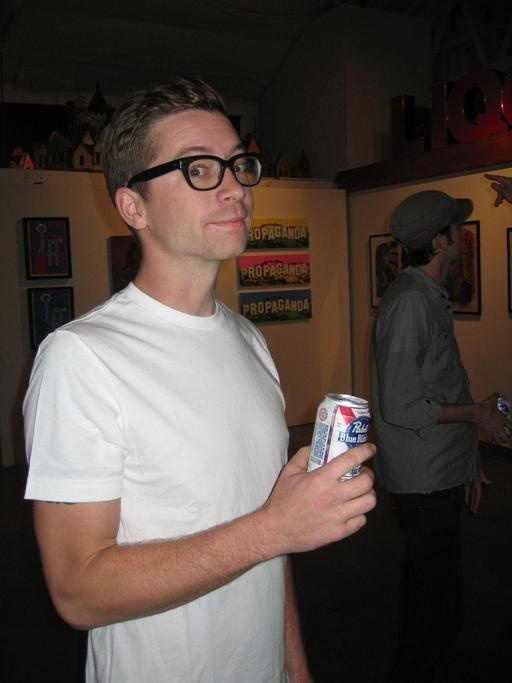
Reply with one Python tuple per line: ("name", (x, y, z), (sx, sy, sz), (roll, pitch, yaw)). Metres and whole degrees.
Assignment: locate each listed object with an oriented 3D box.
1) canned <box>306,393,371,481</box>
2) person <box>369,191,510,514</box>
("canned", (0.137, 0.151, 0.952), (0.088, 0.112, 0.110), (1, 9, 22))
("person", (0.705, 0.030, 2.227), (0.504, 1.285, 0.631), (-1, 8, 11))
